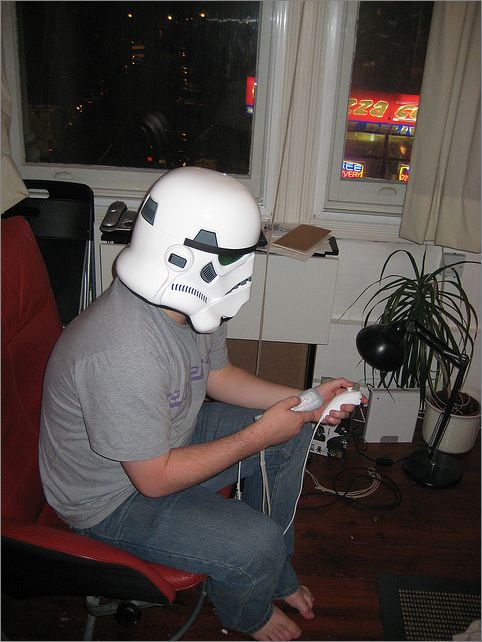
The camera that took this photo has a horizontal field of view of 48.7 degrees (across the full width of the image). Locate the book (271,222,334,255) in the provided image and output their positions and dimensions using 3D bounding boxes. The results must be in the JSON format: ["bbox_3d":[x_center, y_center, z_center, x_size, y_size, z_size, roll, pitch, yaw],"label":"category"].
[{"bbox_3d":[0.229,-0.300,1.952,0.123,0.044,0.186,19,40,27],"label":"book"}]

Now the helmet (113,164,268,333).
[{"bbox_3d":[-0.090,-0.159,1.068,0.310,0.307,0.256,15,34,-11],"label":"helmet"}]
